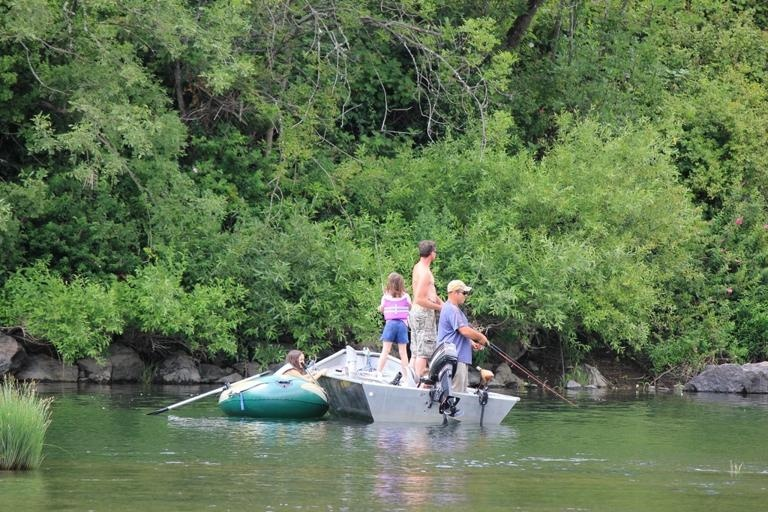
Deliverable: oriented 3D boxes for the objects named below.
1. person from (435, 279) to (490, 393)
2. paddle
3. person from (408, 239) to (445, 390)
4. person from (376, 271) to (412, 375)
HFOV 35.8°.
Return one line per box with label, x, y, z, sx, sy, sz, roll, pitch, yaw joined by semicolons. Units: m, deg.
person;1.537;1.619;24.640;1.017;2.329;1.001;3;-1;-10
paddle;-4.014;3.125;26.923;2.302;0.120;0.172;-20;-26;10
person;0.852;1.110;25.134;0.834;2.663;0.811;1;-2;3
person;0.217;1.436;25.817;0.732;2.142;0.788;1;-2;-2
